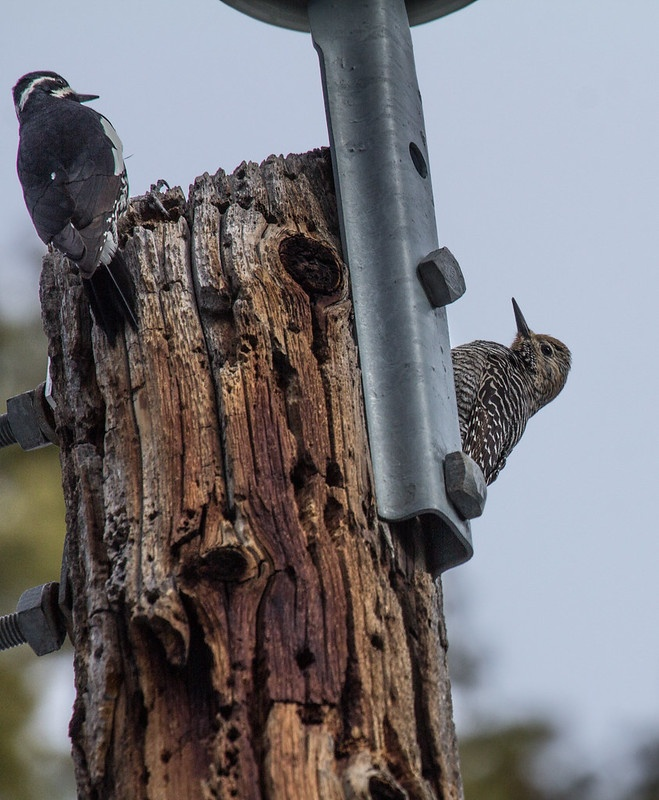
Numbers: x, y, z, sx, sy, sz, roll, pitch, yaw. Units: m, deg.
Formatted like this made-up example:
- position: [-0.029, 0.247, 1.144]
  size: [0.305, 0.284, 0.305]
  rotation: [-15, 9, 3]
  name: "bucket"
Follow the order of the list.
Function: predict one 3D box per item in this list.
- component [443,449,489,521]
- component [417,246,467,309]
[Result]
- position: [0.368, 0.238, 6.048]
  size: [0.089, 0.192, 0.234]
  rotation: [-17, -67, 12]
  name: "component"
- position: [0.325, -0.356, 6.336]
  size: [0.114, 0.168, 0.247]
  rotation: [-12, -21, 12]
  name: "component"
